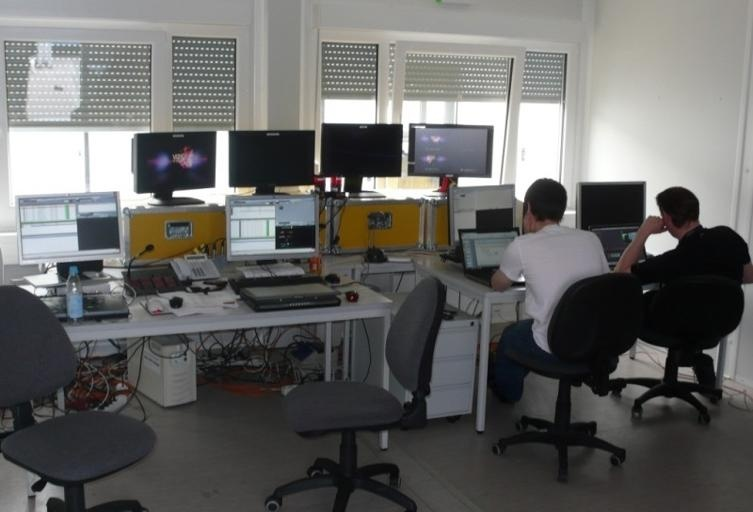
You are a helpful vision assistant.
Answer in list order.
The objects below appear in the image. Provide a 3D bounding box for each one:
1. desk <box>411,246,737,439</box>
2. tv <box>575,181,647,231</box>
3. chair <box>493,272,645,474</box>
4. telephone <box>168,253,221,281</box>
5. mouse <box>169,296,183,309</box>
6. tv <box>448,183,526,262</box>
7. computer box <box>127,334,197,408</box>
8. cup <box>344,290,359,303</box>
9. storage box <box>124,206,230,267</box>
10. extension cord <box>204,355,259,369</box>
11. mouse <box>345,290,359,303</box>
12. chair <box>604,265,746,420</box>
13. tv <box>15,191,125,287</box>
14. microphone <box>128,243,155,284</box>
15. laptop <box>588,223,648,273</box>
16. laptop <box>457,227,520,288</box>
[{"bbox_3d":[1.009,0.253,4.726,1.584,1.228,1.608,-3,21,-17],"label":"desk"},{"bbox_3d":[1.893,-0.405,5.080,0.416,0.296,0.043,-1,4,-12],"label":"tv"},{"bbox_3d":[1.310,0.721,4.246,0.799,1.328,0.817,-3,10,-32],"label":"chair"},{"bbox_3d":[-1.279,0.071,4.389,0.230,0.105,0.208,-7,31,-41],"label":"telephone"},{"bbox_3d":[-1.222,0.284,3.866,0.058,0.074,0.082,3,8,10],"label":"mouse"},{"bbox_3d":[0.878,-0.298,4.995,0.538,0.547,0.463,-2,-2,18],"label":"tv"},{"bbox_3d":[-1.632,0.843,4.810,0.302,0.469,0.536,-4,9,-44],"label":"computer box"},{"bbox_3d":[-0.163,0.268,4.166,0.073,0.056,0.065,1,3,-10],"label":"cup"},{"bbox_3d":[-1.553,-0.245,4.897,0.734,0.440,0.403,-5,22,-24],"label":"storage box"},{"bbox_3d":[-1.203,0.896,5.259,0.288,0.064,0.170,1,3,-6],"label":"extension cord"},{"bbox_3d":[-0.155,0.270,4.147,0.072,0.055,0.066,2,3,-4],"label":"mouse"},{"bbox_3d":[2.311,0.498,4.890,0.952,1.229,1.044,-3,17,-5],"label":"chair"},{"bbox_3d":[-2.034,-0.120,4.174,0.629,0.624,0.203,-2,5,-21],"label":"tv"},{"bbox_3d":[-1.715,0.046,4.597,0.064,0.249,0.239,19,-14,-16],"label":"microphone"},{"bbox_3d":[1.826,-0.009,4.861,0.347,0.397,0.437,-20,10,-36],"label":"laptop"},{"bbox_3d":[0.812,-0.046,4.611,0.437,0.317,0.374,-5,13,-28],"label":"laptop"}]
